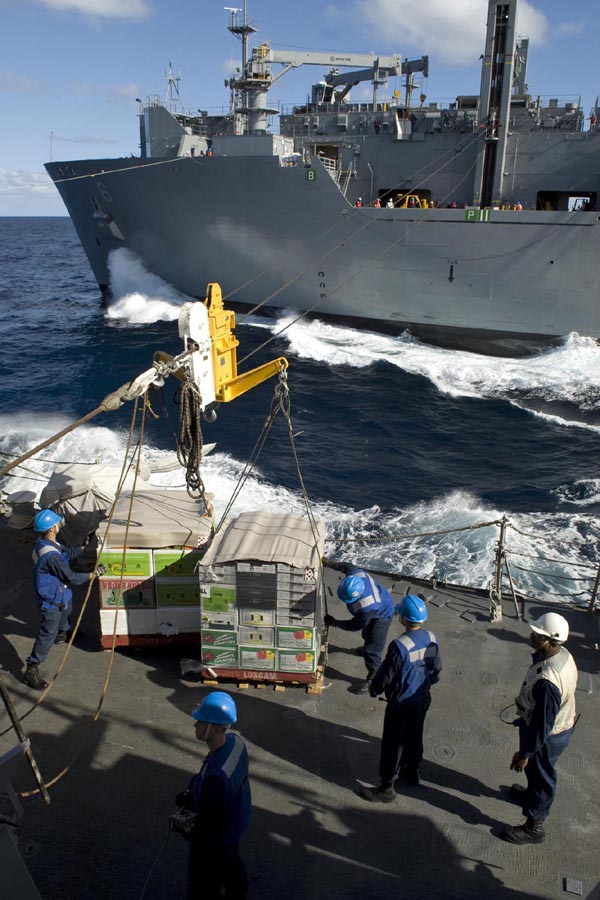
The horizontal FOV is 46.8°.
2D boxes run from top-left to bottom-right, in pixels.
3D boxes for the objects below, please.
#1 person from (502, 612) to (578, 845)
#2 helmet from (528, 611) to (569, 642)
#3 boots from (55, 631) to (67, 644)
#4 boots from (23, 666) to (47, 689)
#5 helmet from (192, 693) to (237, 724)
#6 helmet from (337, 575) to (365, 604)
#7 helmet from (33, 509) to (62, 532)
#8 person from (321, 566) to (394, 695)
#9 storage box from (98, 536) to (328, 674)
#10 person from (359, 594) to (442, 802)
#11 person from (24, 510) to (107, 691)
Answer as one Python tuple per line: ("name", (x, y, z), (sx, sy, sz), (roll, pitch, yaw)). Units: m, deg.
("person", (1.435, 1.652, 4.098), (0.335, 1.362, 0.531), (5, 15, 20))
("helmet", (1.441, 1.005, 4.059), (0.222, 0.117, 0.180), (32, 12, 40))
("boots", (-2.106, 1.658, 6.114), (0.085, 0.090, 0.104), (-5, 18, -32))
("boots", (-2.113, 1.810, 5.506), (0.246, 0.168, 0.083), (18, 21, 24))
("helmet", (-0.408, 1.258, 3.432), (0.207, 0.111, 0.153), (17, 2, 16))
("helmet", (0.393, 1.050, 5.216), (0.170, 0.218, 0.118), (33, -16, 18))
("helmet", (-2.090, 0.599, 5.745), (0.180, 0.115, 0.228), (12, 37, -2))
("person", (0.448, 1.483, 5.557), (0.461, 0.970, 0.396), (-6, 55, 2))
("storage box", (-0.491, 1.205, 5.767), (1.663, 0.874, 1.256), (2, 23, 7))
("person", (0.633, 1.585, 4.403), (0.326, 1.281, 0.541), (12, 19, 40))
("person", (-2.020, 1.338, 5.992), (0.667, 1.413, 0.890), (32, 35, 34))
